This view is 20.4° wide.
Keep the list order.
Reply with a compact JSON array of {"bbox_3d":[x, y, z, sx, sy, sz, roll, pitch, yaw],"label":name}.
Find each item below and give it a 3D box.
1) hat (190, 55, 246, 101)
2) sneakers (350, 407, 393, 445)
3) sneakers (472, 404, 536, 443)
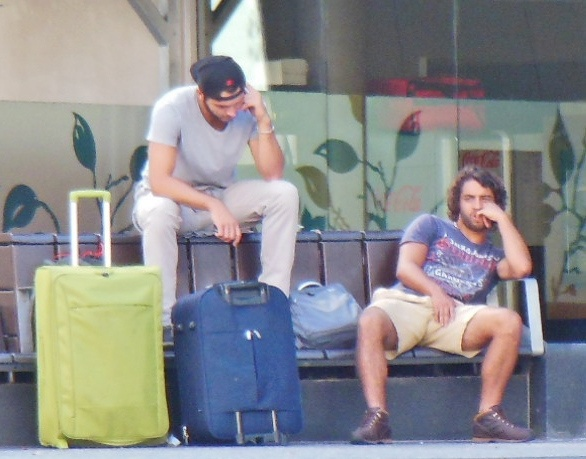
[{"bbox_3d":[-0.414,-0.877,9.446,0.224,0.147,0.282,-17,48,-9],"label":"hat"},{"bbox_3d":[0.451,1.083,9.010,0.196,0.140,0.245,-2,1,26],"label":"sneakers"},{"bbox_3d":[1.216,1.091,9.122,0.372,0.223,0.134,-3,-5,15],"label":"sneakers"}]
